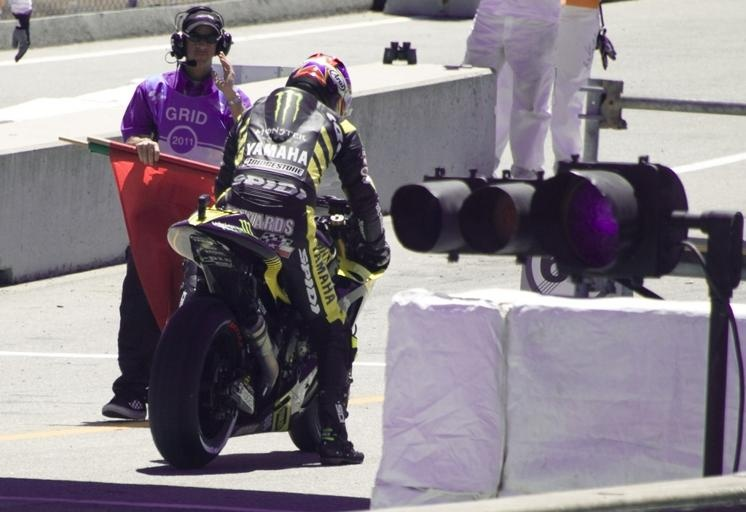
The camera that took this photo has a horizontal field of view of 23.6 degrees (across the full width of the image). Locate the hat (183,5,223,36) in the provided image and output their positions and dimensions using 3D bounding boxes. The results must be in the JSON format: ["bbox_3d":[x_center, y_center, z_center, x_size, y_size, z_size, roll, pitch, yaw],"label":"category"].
[{"bbox_3d":[-1.241,-1.751,13.173,0.302,0.209,0.303,2,-1,-6],"label":"hat"}]

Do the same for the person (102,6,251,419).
[{"bbox_3d":[-1.460,-0.357,13.396,1.212,2.915,1.148,0,7,-8],"label":"person"}]

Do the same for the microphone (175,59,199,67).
[{"bbox_3d":[-1.344,-1.431,13.172,0.105,0.049,0.074,4,6,21],"label":"microphone"}]
